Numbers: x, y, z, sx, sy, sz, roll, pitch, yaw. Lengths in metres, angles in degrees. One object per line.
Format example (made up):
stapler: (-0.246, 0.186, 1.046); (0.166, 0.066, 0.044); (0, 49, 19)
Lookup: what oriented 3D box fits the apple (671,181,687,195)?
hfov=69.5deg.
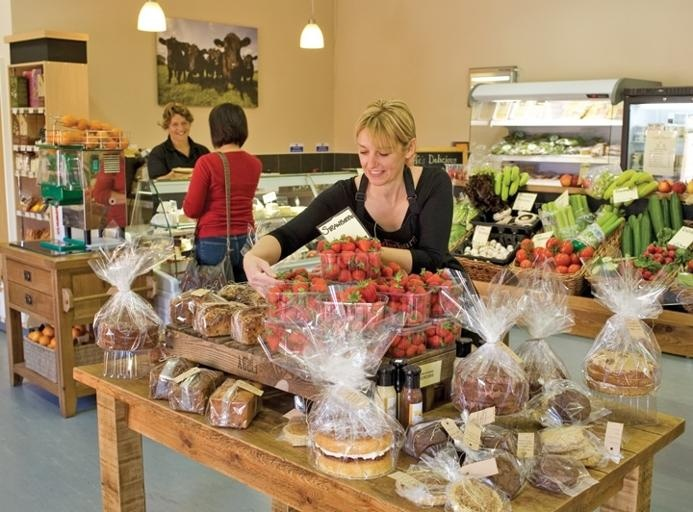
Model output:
apple: (2.413, -0.501, 3.606); (0.109, 0.111, 0.105); (4, 10, 21)

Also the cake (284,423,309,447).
cake: (-0.153, 0.527, 1.472); (0.072, 0.023, 0.110); (-2, 10, -9)

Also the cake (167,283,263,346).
cake: (-0.434, 0.179, 1.762); (0.227, 0.080, 0.230); (-1, 7, -37)

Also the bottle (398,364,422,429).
bottle: (0.180, 0.399, 1.407); (0.065, 0.168, 0.081); (1, 9, 5)

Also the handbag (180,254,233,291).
handbag: (-0.941, 0.111, 3.393); (0.254, 0.243, 0.127); (2, 7, 4)

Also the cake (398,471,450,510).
cake: (0.188, 0.566, 1.216); (0.133, 0.029, 0.103); (7, 12, 35)

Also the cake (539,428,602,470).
cake: (0.619, 0.517, 1.375); (0.123, 0.044, 0.113); (2, 9, 15)

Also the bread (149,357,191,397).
bread: (-0.588, 0.407, 1.706); (0.107, 0.148, 0.056); (13, -11, 33)

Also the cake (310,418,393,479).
cake: (0.018, 0.489, 1.317); (0.140, 0.062, 0.143); (1, 3, 25)

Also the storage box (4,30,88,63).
storage box: (-3.140, -2.113, 5.101); (0.847, 0.330, 0.369); (1, 9, 5)

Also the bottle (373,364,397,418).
bottle: (0.113, 0.386, 1.416); (0.060, 0.150, 0.054); (0, 9, 3)

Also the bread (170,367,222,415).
bread: (-0.495, 0.427, 1.651); (0.129, 0.111, 0.162); (4, 8, 12)

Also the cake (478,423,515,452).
cake: (0.398, 0.469, 1.292); (0.068, 0.021, 0.069); (1, 8, 1)

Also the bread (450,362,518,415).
bread: (0.382, 0.358, 1.372); (0.138, 0.101, 0.139); (1, 2, -20)

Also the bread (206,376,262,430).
bread: (-0.352, 0.446, 1.565); (0.138, 0.096, 0.138); (7, 8, 8)

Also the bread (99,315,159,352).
bread: (-0.848, 0.299, 1.938); (0.237, 0.124, 0.186); (-4, 10, -25)

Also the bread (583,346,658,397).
bread: (0.909, 0.351, 1.638); (0.156, 0.093, 0.158); (2, 6, 27)

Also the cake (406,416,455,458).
cake: (0.219, 0.494, 1.343); (0.089, 0.107, 0.111); (-4, 10, -21)

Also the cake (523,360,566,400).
cake: (0.641, 0.381, 1.618); (0.129, 0.073, 0.117); (-11, 5, -22)

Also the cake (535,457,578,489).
cake: (0.523, 0.542, 1.249); (0.074, 0.028, 0.072); (10, 28, 32)
